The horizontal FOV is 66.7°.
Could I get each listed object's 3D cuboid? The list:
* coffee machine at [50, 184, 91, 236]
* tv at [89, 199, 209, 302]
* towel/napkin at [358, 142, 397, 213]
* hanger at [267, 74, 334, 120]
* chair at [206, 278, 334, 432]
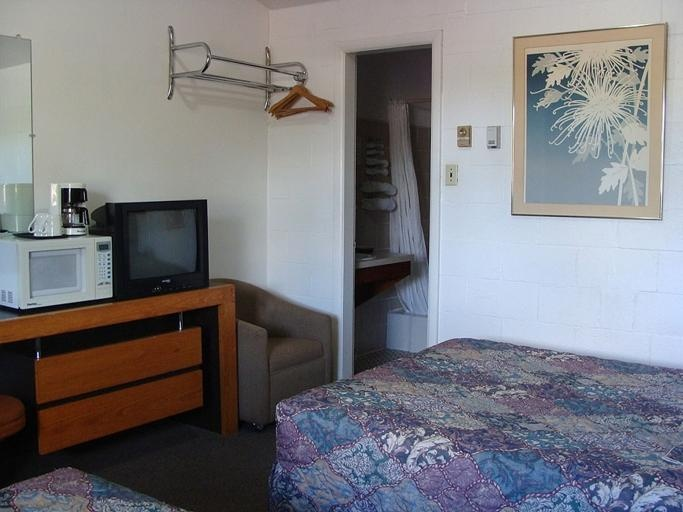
[{"bbox_3d":[-1.592,-0.276,3.019,0.192,0.293,0.274,-6,11,-29],"label":"coffee machine"},{"bbox_3d":[-1.321,-0.084,3.422,0.654,0.564,0.615,4,7,41],"label":"tv"},{"bbox_3d":[0.326,-0.719,4.794,0.462,0.661,0.124,-10,13,-44],"label":"towel/napkin"},{"bbox_3d":[-0.318,-1.316,4.276,0.439,0.196,0.089,1,27,29],"label":"hanger"},{"bbox_3d":[-0.448,0.672,4.084,0.994,1.073,1.000,3,6,34],"label":"chair"}]
